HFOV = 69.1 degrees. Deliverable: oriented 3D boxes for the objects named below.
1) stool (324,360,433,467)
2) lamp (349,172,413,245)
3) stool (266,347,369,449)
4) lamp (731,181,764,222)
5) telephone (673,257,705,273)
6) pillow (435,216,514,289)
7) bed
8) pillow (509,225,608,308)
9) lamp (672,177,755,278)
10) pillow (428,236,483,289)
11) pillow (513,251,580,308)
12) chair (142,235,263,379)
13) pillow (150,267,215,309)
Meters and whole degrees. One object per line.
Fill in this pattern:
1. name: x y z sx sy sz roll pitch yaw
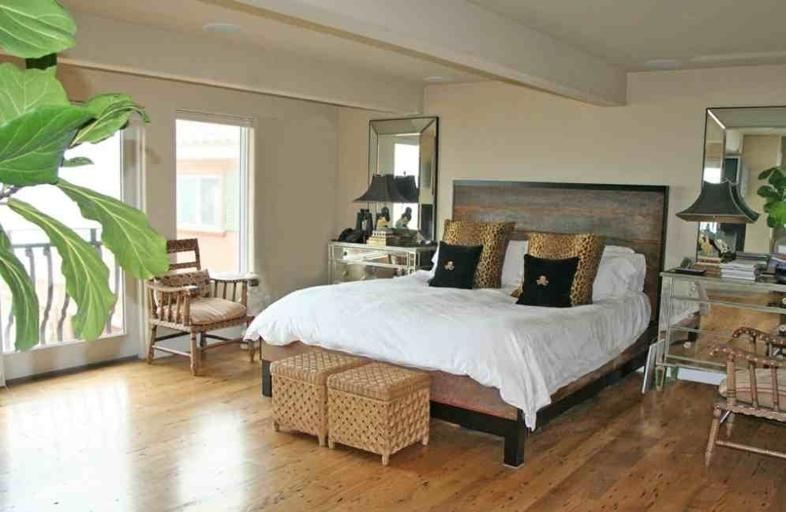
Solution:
1. stool: -0.112 1.043 3.897 0.593 0.539 0.462 8 13 31
2. lamp: -0.126 -0.578 6.655 0.703 0.629 0.758 -4 1 4
3. stool: -0.553 0.981 4.219 0.641 0.517 0.637 5 7 40
4. lamp: 3.009 -0.455 4.941 0.308 0.367 0.393 8 13 30
5. telephone: 2.637 0.098 5.080 0.181 0.099 0.177 -6 8 -43
6. pillow: 0.779 -0.066 5.358 0.706 0.616 0.210 2 -14 44
7. bed: 0.881 0.050 4.834 2.694 1.663 2.825 4 6 36
8. pillow: 1.517 -0.009 5.194 1.042 0.262 1.000 9 39 13
9. lamp: 2.840 -0.496 5.065 0.579 0.519 0.563 3 25 21
10. pillow: 0.542 0.072 5.180 0.475 0.396 0.139 3 -17 32
11. pillow: 1.285 0.205 4.759 0.452 0.373 0.432 4 12 17
12. chair: -1.815 0.438 5.397 1.024 1.004 0.925 -1 9 -30
13. pillow: -2.020 0.296 5.441 0.159 0.307 0.574 24 21 36
